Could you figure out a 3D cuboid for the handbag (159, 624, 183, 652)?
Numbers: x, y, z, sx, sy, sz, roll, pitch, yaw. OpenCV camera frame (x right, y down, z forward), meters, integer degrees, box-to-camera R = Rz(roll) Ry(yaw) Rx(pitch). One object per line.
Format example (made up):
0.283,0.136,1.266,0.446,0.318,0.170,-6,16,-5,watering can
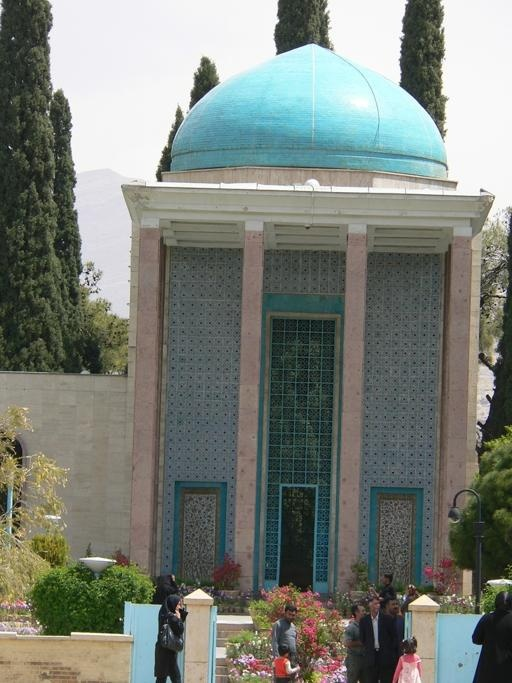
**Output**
-1.141,4.029,30.358,0.097,0.279,0.254,-20,-31,33,handbag
